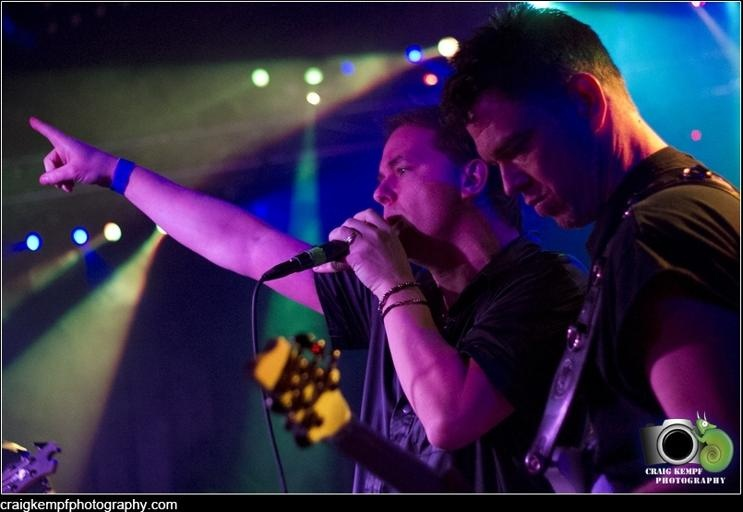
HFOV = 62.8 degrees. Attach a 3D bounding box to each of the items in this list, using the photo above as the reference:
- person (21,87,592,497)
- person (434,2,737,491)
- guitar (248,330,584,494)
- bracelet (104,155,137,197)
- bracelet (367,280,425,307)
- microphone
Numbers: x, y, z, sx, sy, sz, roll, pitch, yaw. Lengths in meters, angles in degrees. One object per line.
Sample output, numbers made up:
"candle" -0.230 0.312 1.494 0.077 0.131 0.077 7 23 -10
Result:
"person" -0.209 0.199 2.391 1.243 1.496 0.427 -17 -15 -4
"person" 0.833 -0.011 2.284 1.172 1.675 0.644 4 -17 3
"guitar" 0.181 0.741 2.320 1.346 0.489 0.149 35 -49 -24
"bracelet" -1.037 -0.331 2.543 0.129 0.132 0.043 31 0 11
"bracelet" 0.094 0.122 2.166 0.111 0.030 0.092 -30 -45 3
"microphone" -0.078 -0.073 2.289 0.818 0.121 0.105 -19 8 -43
